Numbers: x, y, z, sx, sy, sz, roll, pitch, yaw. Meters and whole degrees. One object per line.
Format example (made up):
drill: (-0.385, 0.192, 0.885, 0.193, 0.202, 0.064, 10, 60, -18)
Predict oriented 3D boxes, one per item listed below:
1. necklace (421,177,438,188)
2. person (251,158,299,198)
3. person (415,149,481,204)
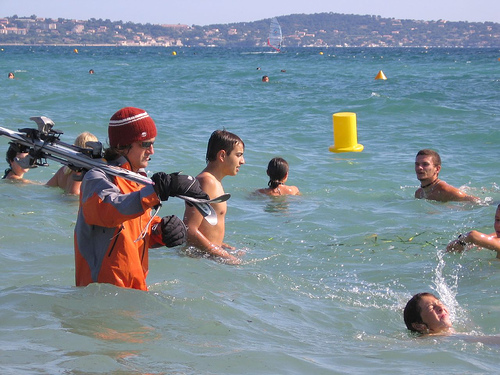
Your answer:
necklace: (3.058, -0.093, 14.816, 0.252, 0.194, 0.120, 6, 7, 14)
person: (0.511, -0.136, 15.164, 0.941, 0.699, 0.505, 4, -1, 18)
person: (3.522, -0.182, 15.457, 0.408, 0.637, 1.112, -2, -2, -30)
